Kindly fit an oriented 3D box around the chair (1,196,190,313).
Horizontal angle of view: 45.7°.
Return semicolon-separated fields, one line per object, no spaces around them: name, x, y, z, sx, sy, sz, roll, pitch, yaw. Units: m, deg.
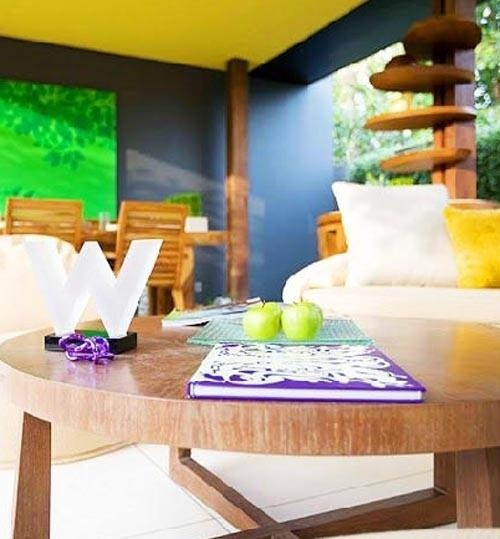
chair;-1.019;-0.133;4.028;0.823;1.216;0.936;-2;9;-34

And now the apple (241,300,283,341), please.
apple;0.019;0.087;0.956;0.065;0.054;0.061;-13;15;-41

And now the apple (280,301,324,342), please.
apple;0.081;0.082;0.945;0.075;0.061;0.072;2;17;20

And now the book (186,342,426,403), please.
book;0.069;0.118;0.748;0.250;0.025;0.303;1;3;4
